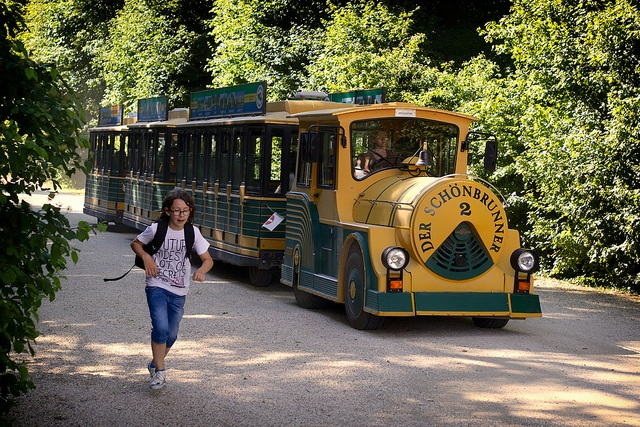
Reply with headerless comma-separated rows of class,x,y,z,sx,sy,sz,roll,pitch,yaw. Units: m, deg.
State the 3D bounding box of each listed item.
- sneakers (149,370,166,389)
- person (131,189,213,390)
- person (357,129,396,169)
sneakers,-1.750,1.819,5.725,0.138,0.220,0.125,0,3,-29
person,-1.629,0.841,5.825,0.806,2.196,0.548,1,3,-21
person,1.110,-1.146,9.708,0.847,0.762,0.418,-5,12,-20
